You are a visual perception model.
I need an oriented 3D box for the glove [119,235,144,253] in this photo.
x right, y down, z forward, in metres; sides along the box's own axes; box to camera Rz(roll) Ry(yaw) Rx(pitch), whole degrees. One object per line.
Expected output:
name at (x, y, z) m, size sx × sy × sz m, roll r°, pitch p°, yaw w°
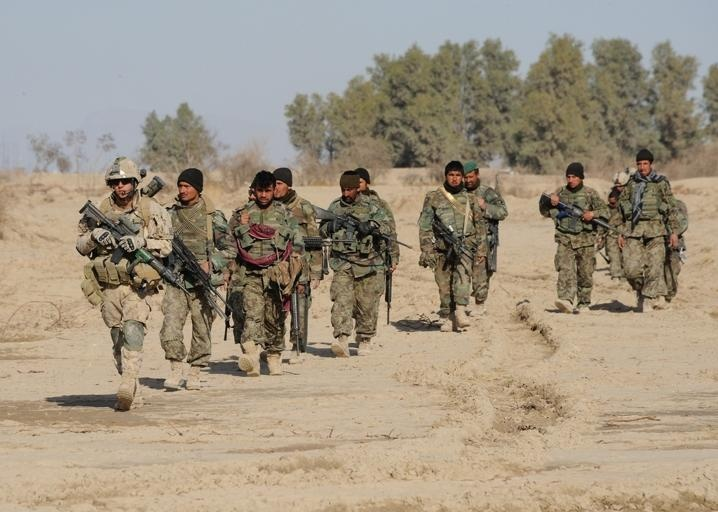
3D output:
glove at (-2.664, -0.132, 13.723) m, size 0.308 × 0.218 × 0.200 m, roll -2°, pitch 12°, yaw -11°

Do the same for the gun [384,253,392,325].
gun at (0.458, 0.497, 17.849) m, size 0.091 × 1.188 × 0.289 m, roll -1°, pitch -12°, yaw 15°

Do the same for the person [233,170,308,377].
person at (-1.183, 0.272, 15.090) m, size 1.029 × 2.730 × 0.780 m, roll -6°, pitch 13°, yaw -25°

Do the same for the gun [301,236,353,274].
gun at (-0.344, -0.023, 16.115) m, size 0.135 × 0.514 × 1.358 m, roll 4°, pitch -2°, yaw -44°

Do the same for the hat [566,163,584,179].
hat at (3.453, -1.380, 18.620) m, size 0.315 × 0.276 × 0.237 m, roll 9°, pitch -7°, yaw -42°

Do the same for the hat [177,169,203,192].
hat at (-2.139, -0.954, 14.812) m, size 0.312 × 0.329 × 0.593 m, roll -2°, pitch 12°, yaw -9°

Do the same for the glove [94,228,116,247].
glove at (-2.996, -0.195, 13.694) m, size 0.269 × 0.255 × 0.330 m, roll -1°, pitch 12°, yaw -6°

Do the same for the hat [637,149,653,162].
hat at (4.555, -1.632, 18.489) m, size 0.231 × 0.170 × 0.229 m, roll 2°, pitch -5°, yaw 5°

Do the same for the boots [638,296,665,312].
boots at (4.839, 0.802, 19.106) m, size 0.385 × 0.133 × 0.251 m, roll 4°, pitch -2°, yaw -41°

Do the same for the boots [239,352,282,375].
boots at (-1.264, 1.390, 15.112) m, size 0.237 × 0.334 × 0.716 m, roll -3°, pitch -15°, yaw 12°

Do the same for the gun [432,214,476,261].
gun at (1.408, -0.172, 17.506) m, size 0.923 × 0.468 × 0.175 m, roll 30°, pitch 27°, yaw 35°

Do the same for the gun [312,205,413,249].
gun at (-0.010, -0.345, 16.517) m, size 1.669 × 0.391 × 0.143 m, roll 21°, pitch 20°, yaw 28°

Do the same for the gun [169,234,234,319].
gun at (-1.988, 0.230, 14.571) m, size 0.460 × 1.272 × 0.182 m, roll -41°, pitch 10°, yaw -3°

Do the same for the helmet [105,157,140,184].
helmet at (-2.785, -1.009, 13.800) m, size 0.420 × 0.314 × 0.301 m, roll -3°, pitch 12°, yaw -13°

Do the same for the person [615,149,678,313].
person at (4.651, -0.388, 18.741) m, size 0.954 × 2.672 × 0.577 m, roll 2°, pitch 12°, yaw 12°
